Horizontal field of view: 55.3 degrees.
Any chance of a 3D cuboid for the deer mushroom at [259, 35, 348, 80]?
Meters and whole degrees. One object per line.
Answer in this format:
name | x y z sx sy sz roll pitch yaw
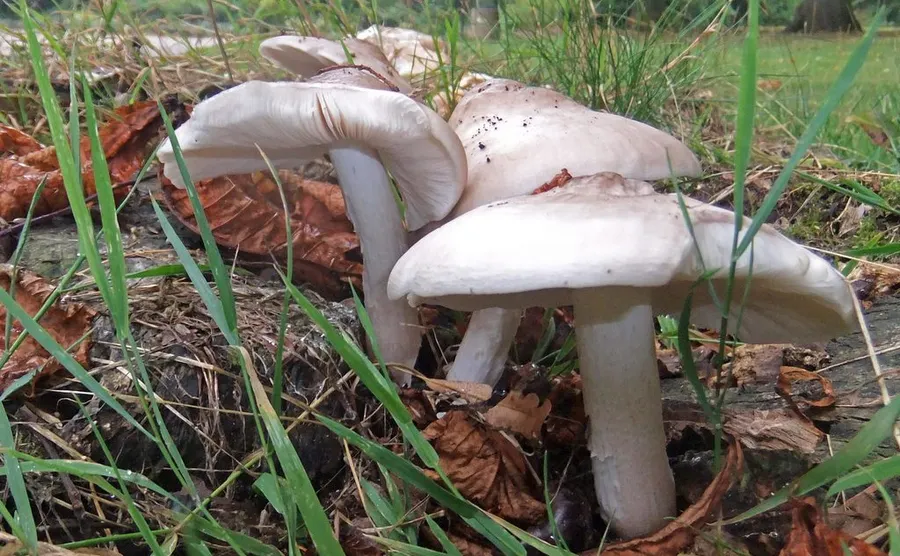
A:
deer mushroom | -0.690 -1.045 4.138 0.343 0.091 0.330 6 6 -41
